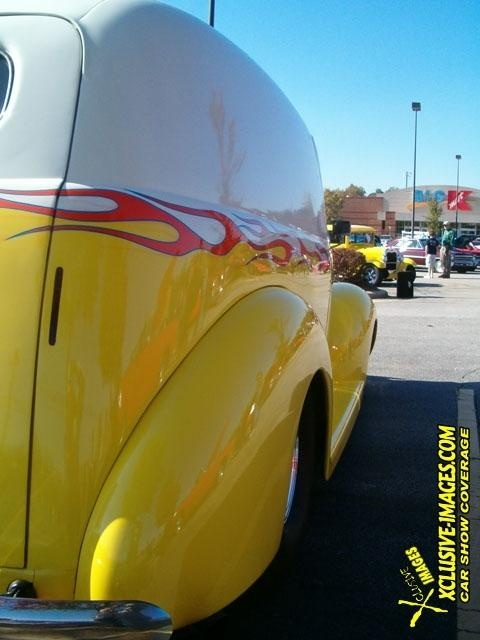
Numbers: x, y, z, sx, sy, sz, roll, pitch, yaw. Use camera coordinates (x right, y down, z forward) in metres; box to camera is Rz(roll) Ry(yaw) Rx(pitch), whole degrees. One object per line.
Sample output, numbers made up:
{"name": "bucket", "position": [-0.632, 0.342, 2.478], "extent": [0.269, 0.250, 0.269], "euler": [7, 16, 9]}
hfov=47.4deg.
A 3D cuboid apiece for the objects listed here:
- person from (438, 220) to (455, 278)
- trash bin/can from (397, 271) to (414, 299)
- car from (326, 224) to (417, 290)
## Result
{"name": "person", "position": [7.557, -2.425, 19.458], "extent": [0.394, 1.773, 2.233], "euler": [5, 3, 20]}
{"name": "trash bin/can", "position": [4.143, -0.836, 13.311], "extent": [0.402, 0.569, 0.995], "euler": [6, 4, 16]}
{"name": "car", "position": [3.819, -2.028, 17.118], "extent": [1.122, 1.137, 2.100], "euler": [24, 13, -16]}
